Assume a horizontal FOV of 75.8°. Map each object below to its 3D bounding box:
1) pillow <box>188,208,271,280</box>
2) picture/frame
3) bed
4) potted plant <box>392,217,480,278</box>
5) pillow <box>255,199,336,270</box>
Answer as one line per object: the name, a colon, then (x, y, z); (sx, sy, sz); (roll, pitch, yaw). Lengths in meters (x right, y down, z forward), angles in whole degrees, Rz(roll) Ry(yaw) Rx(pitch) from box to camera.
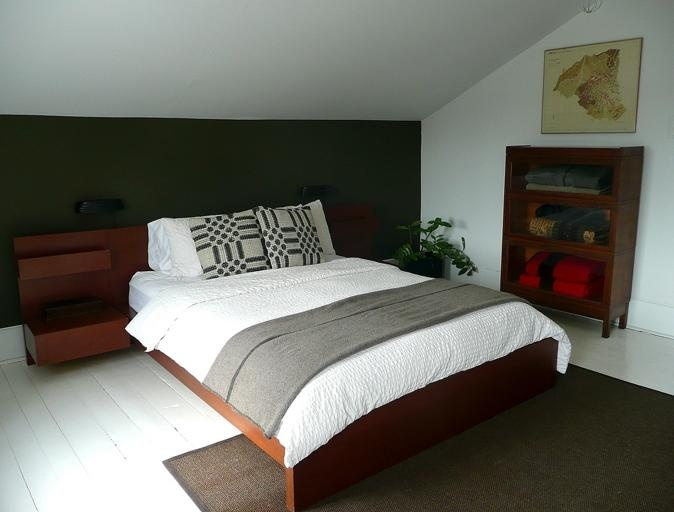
pillow: (-0.818, -0.077, 3.689); (0.670, 0.739, 0.200); (-17, -28, -2)
picture/frame: (2.374, -1.581, 3.962); (0.035, 0.821, 0.918); (-8, 14, -34)
bed: (-0.514, 0.600, 2.930); (2.361, 0.915, 2.075); (-8, 13, -38)
potted plant: (1.091, -0.078, 5.154); (0.792, 0.796, 0.779); (-8, 11, -30)
pillow: (-0.400, -0.184, 3.825); (0.651, 0.624, 0.177); (-9, -16, -40)
